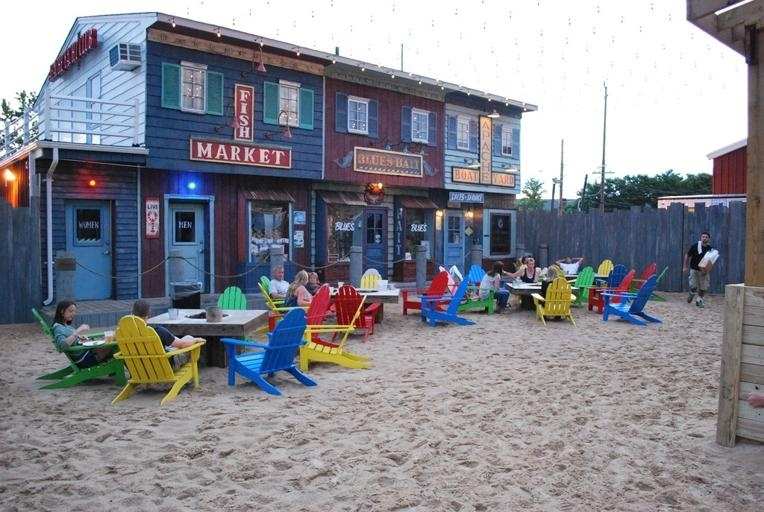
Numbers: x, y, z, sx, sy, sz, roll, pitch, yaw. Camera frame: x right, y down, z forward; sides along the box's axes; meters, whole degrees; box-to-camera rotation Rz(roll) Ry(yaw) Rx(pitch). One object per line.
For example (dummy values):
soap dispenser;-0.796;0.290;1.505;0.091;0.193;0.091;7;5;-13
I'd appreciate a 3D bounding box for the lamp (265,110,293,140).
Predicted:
lamp;-2.938;-3.749;20.499;0.719;0.870;0.897;-1;1;-6

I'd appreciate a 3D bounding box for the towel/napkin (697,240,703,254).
towel/napkin;8.593;-0.267;19.612;0.066;0.268;0.183;8;2;-9

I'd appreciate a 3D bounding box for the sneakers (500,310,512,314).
sneakers;3.148;1.392;18.487;0.231;0.108;0.107;-5;6;-17

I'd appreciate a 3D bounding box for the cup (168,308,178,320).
cup;-3.730;1.023;13.005;0.193;0.210;0.203;2;6;0

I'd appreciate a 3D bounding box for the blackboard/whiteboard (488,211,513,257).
blackboard/whiteboard;4.364;-0.845;27.286;1.653;2.455;0.179;1;-2;-42

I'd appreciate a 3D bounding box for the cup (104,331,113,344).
cup;-4.678;1.356;12.425;0.189;0.222;0.210;-1;6;-13

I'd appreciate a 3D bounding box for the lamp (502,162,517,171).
lamp;4.713;-3.381;27.202;0.394;0.283;0.532;-2;-2;9

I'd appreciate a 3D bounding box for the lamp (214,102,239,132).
lamp;-4.292;-3.741;19.665;0.174;0.835;0.625;1;2;43

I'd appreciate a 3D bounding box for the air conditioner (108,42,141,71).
air conditioner;-6.566;-5.132;18.616;0.572;0.537;0.926;-24;5;8

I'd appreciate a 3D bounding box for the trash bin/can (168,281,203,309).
trash bin/can;-4.167;0.784;15.479;0.548;0.561;0.564;3;3;-2

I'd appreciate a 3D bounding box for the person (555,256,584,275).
person;5.754;0.257;22.276;0.809;0.433;1.454;-7;-9;17

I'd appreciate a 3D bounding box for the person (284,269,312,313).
person;-1.683;0.685;15.217;0.646;0.756;0.697;-3;10;-18

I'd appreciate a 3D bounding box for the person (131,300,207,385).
person;-3.808;1.314;12.402;0.988;1.389;1.334;5;5;32

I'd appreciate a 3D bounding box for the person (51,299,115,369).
person;-5.129;1.301;12.327;0.969;1.141;0.751;0;1;44

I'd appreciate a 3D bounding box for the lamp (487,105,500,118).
lamp;4.032;-5.274;26.453;0.405;0.289;0.440;0;0;5

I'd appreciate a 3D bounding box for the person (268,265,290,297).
person;-2.297;0.590;16.549;0.544;0.806;0.686;0;1;-41

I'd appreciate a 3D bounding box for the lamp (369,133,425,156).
lamp;0.469;-3.632;23.801;1.170;0.372;0.748;-1;3;-33
